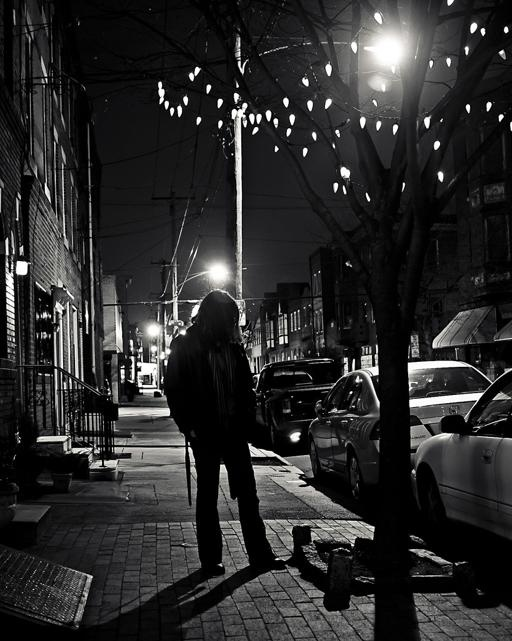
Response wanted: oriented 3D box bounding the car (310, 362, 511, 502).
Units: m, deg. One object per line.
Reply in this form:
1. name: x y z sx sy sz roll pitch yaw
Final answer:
1. car: 1.596 1.219 8.353 1.187 1.367 3.191 -4 -2 -9

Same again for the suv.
1. suv: 0.765 1.987 15.507 1.164 1.371 2.936 -2 0 -8

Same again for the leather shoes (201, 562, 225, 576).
1. leather shoes: -0.260 1.558 4.055 0.147 0.080 0.099 -3 -5 -19

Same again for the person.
1. person: -0.241 0.718 4.223 0.699 1.849 0.303 -2 -3 -12
